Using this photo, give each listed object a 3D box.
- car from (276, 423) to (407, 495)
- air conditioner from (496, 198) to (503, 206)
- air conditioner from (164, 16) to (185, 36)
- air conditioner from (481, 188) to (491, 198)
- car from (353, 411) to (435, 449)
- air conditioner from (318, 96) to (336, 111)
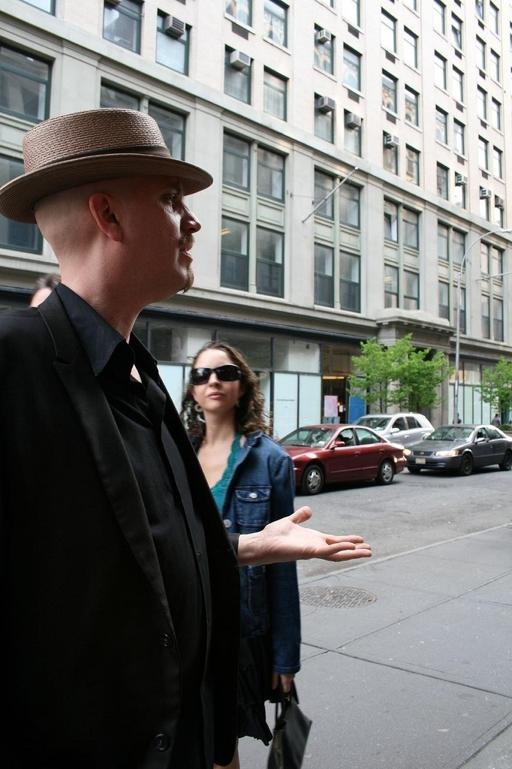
[{"bbox_3d":[1.615,1.484,14.592,1.263,0.976,3.051,-9,-12,43],"label":"car"},{"bbox_3d":[13.055,-9.826,38.350,0.320,0.385,0.563,0,-4,31],"label":"air conditioner"},{"bbox_3d":[-2.292,-10.005,19.850,0.344,0.525,0.641,-3,0,42],"label":"air conditioner"},{"bbox_3d":[11.852,-9.920,36.892,0.501,0.470,0.494,16,-13,30],"label":"air conditioner"},{"bbox_3d":[4.119,1.364,20.736,1.962,0.831,1.016,7,-10,-42],"label":"car"},{"bbox_3d":[2.467,-10.184,25.443,0.447,0.528,0.811,-2,5,33],"label":"air conditioner"}]
